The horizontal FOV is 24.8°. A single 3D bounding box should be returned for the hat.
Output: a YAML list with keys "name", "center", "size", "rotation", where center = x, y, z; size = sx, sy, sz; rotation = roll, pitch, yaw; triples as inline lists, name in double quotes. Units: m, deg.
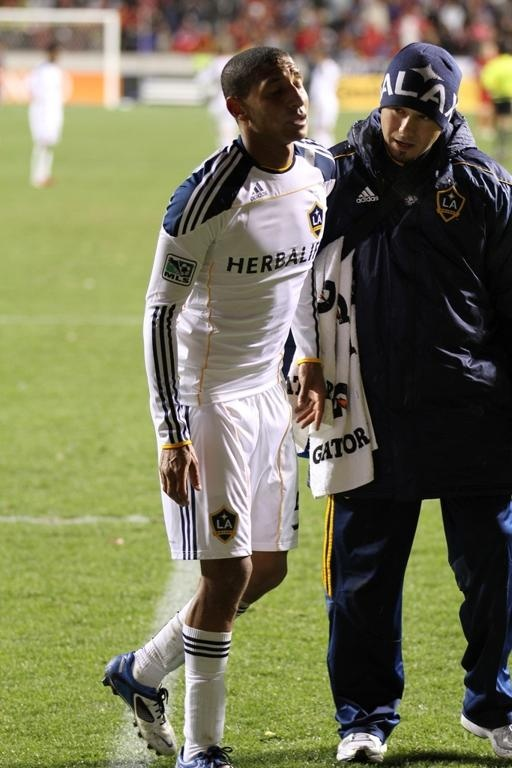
- name: "hat"
  center: [0.383, -0.679, 2.656]
  size: [0.187, 0.196, 0.184]
  rotation: [0, 13, -8]

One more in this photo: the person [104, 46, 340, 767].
- name: "person"
  center: [-0.070, 0.057, 2.646]
  size: [0.339, 1.603, 0.518]
  rotation: [6, 14, 13]
